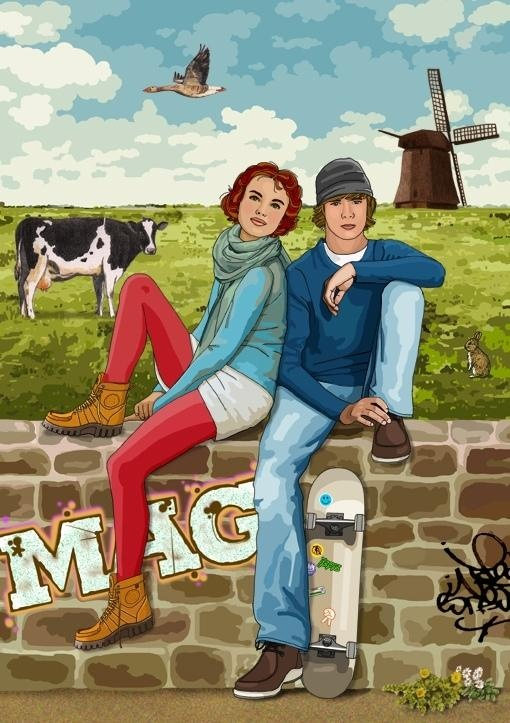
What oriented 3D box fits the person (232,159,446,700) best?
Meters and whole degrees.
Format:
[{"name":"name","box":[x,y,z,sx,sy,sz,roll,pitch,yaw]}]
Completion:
[{"name":"person","box":[0.387,0.326,3.373,1.029,2.693,0.655,-2,9,-8]}]

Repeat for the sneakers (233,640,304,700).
[{"name":"sneakers","box":[0.082,1.494,3.273,0.192,0.267,0.425,-7,-6,40]}]

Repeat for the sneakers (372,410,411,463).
[{"name":"sneakers","box":[0.686,0.362,3.320,0.194,0.129,0.372,1,33,9]}]

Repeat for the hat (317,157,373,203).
[{"name":"hat","box":[0.470,-0.924,3.379,0.324,0.223,0.278,-1,17,26]}]
